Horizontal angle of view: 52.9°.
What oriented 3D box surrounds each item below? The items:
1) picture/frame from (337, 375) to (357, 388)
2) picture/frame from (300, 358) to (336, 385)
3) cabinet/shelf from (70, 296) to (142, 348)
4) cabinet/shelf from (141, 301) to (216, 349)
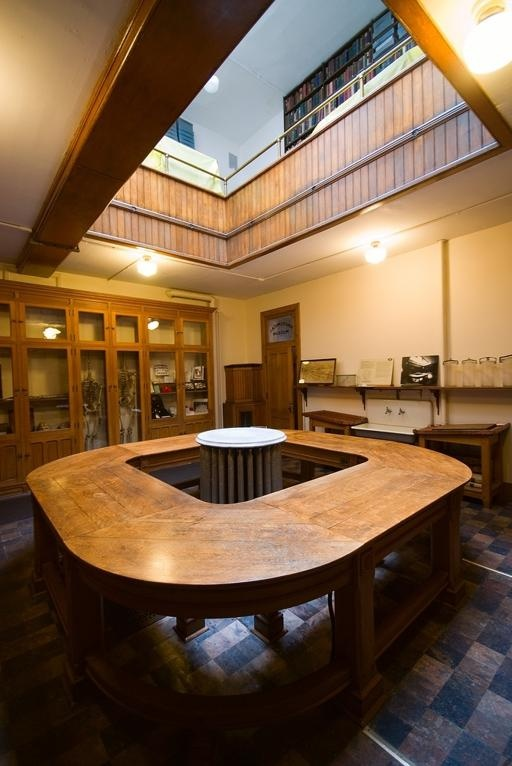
[{"bbox_3d":[1.005,-0.023,5.659,0.136,0.122,0.220,-1,-5,16],"label":"picture/frame"},{"bbox_3d":[0.720,-0.136,5.992,0.237,0.329,0.692,-6,12,-25],"label":"picture/frame"},{"bbox_3d":[-1.548,-0.611,5.342,0.719,0.474,0.223,0,-5,-36],"label":"cabinet/shelf"},{"bbox_3d":[-0.909,-0.654,6.177,0.961,0.507,0.234,7,6,20],"label":"cabinet/shelf"}]
